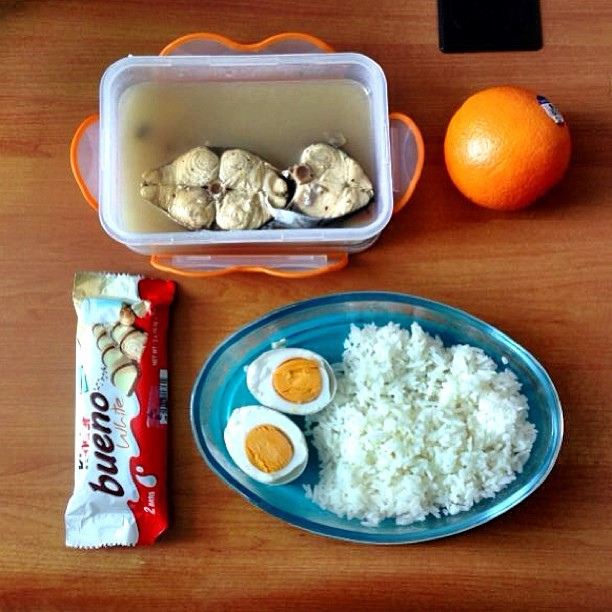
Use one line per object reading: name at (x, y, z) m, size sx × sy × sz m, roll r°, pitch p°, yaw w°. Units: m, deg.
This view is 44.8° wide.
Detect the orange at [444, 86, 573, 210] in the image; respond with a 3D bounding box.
orange at (0.381, -0.300, 1.414) m, size 0.244 × 0.251 × 0.244 m, roll -12°, pitch 100°, yaw -30°

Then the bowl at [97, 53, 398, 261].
bowl at (-0.107, -0.282, 1.332) m, size 0.511 × 0.137 × 0.354 m, roll -2°, pitch 75°, yaw 6°
